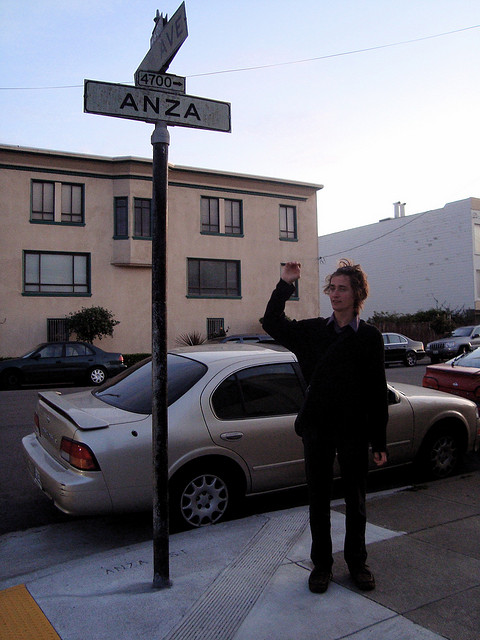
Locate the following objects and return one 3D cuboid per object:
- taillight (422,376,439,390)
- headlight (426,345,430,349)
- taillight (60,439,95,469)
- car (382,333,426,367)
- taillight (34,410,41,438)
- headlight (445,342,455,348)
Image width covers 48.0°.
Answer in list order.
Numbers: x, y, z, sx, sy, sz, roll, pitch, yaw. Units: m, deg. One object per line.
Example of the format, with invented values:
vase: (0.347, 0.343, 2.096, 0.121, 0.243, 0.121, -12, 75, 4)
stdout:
taillight: (3.092, 1.056, 8.705, 0.263, 0.164, 0.178, 4, 7, 28)
headlight: (8.434, 1.360, 24.096, 0.167, 0.210, 0.102, -2, 10, 1)
taillight: (-1.113, 0.933, 3.677, 0.213, 0.090, 0.156, 34, 6, -18)
car: (6.323, 1.310, 20.717, 2.696, 1.094, 1.163, -8, 2, -27)
taillight: (-1.731, 0.900, 4.614, 0.017, 0.201, 0.315, 0, -6, -25)
headlight: (8.956, 1.192, 22.929, 0.361, 0.204, 0.172, -4, -5, 16)
